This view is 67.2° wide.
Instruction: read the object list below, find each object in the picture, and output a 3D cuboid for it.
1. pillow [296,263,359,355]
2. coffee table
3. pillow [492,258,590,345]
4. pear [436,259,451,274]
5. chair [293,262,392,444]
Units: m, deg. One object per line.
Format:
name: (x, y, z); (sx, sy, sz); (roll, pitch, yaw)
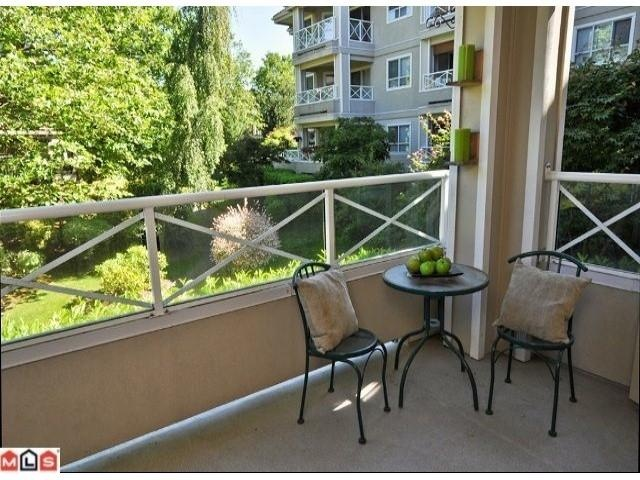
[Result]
pillow: (0.069, 0.447, 3.306); (0.262, 0.508, 0.534); (2, 11, 28)
coffee table: (0.838, 0.648, 3.520); (0.568, 0.702, 0.588); (-14, -19, 34)
pillow: (1.499, 0.427, 3.322); (0.287, 0.485, 0.480); (-6, 14, -40)
pear: (0.885, 0.191, 3.463); (0.103, 0.103, 0.066); (-2, 18, 7)
chair: (0.153, 0.725, 3.282); (0.633, 1.061, 0.578); (9, 16, 44)
